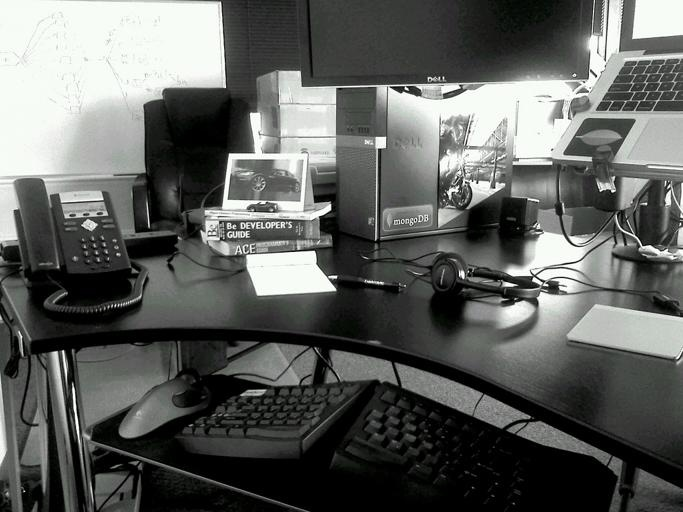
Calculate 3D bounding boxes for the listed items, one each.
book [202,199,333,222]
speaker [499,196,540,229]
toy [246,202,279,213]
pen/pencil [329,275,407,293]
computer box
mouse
[{"bbox_3d":[-0.191,-0.119,1.423,0.342,0.032,0.140,-6,20,-12],"label":"book"},{"bbox_3d":[0.524,-0.124,1.563,0.095,0.098,0.097,16,27,39],"label":"speaker"},{"bbox_3d":[-0.206,-0.126,1.399,0.060,0.020,0.036,4,16,2],"label":"toy"},{"bbox_3d":[0.055,0.063,1.173,0.160,0.020,0.023,4,-12,24],"label":"pen/pencil"},{"bbox_3d":[0.131,-0.282,1.596,0.278,0.422,0.278,-3,14,-15],"label":"computer box"},{"bbox_3d":[-0.367,0.288,1.081,0.096,0.053,0.143,5,15,37],"label":"mouse"}]
